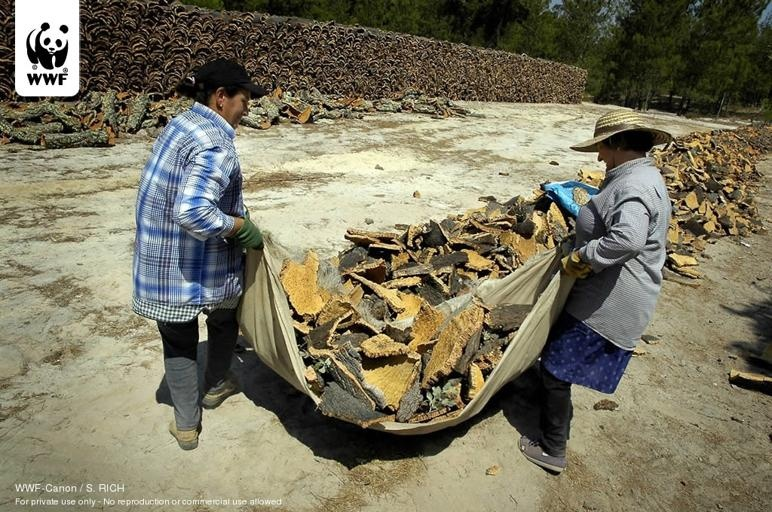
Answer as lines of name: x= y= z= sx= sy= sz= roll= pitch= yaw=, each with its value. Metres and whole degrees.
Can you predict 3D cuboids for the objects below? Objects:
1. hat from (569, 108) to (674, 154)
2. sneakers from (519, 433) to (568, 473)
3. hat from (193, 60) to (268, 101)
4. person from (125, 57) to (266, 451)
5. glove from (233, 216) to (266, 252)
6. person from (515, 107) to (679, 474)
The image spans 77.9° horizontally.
hat: x=1.976 y=-1.151 z=4.149 sx=0.644 sy=0.240 sz=0.666 roll=-3 pitch=24 yaw=1
sneakers: x=1.401 y=1.832 z=4.352 sx=0.420 sy=0.168 sz=0.211 roll=31 pitch=27 yaw=22
hat: x=-1.244 y=-1.508 z=3.988 sx=0.624 sy=0.310 sz=0.413 roll=0 pitch=19 yaw=2
person: x=-1.577 y=0.047 z=4.063 sx=0.822 sy=3.251 sz=0.936 roll=21 pitch=27 yaw=28
glove: x=-1.122 y=-0.162 z=3.942 sx=0.208 sy=0.205 sz=0.273 roll=30 pitch=-12 yaw=-3
person: x=1.872 y=0.380 z=4.178 sx=0.809 sy=3.123 sz=1.100 roll=13 pitch=24 yaw=10
